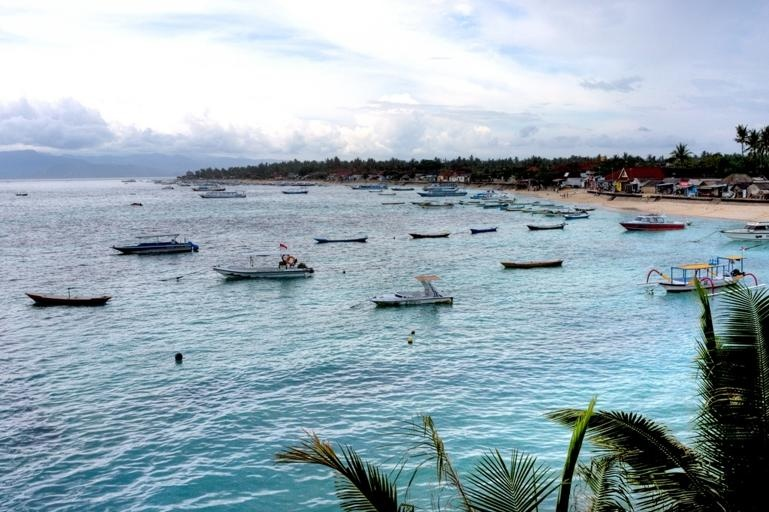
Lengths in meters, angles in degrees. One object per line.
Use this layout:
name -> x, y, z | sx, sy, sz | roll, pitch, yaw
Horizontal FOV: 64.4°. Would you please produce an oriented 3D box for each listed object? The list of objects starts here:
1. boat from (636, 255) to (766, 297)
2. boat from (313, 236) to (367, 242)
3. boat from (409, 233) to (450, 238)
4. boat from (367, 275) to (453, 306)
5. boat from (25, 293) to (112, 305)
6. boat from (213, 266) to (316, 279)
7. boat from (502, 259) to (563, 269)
boat -> 25.315, 1.604, 49.064 | 9.877, 1.656, 4.327 | 0, 3, -22
boat -> -5.541, -2.243, 84.579 | 6.364, 0.741, 6.161 | -2, 4, 10
boat -> 6.284, -2.917, 88.494 | 5.352, 0.706, 2.261 | -4, 4, -16
boat -> 2.452, 2.751, 47.195 | 7.094, 1.572, 2.267 | -3, 8, -9
boat -> -25.205, 3.424, 48.616 | 6.176, 1.153, 1.728 | -2, 5, 8
boat -> -11.858, 1.668, 57.978 | 11.147, 1.158, 2.473 | 2, -4, -2
boat -> 15.279, 0.826, 63.028 | 6.545, 0.556, 1.160 | 1, -3, -3
